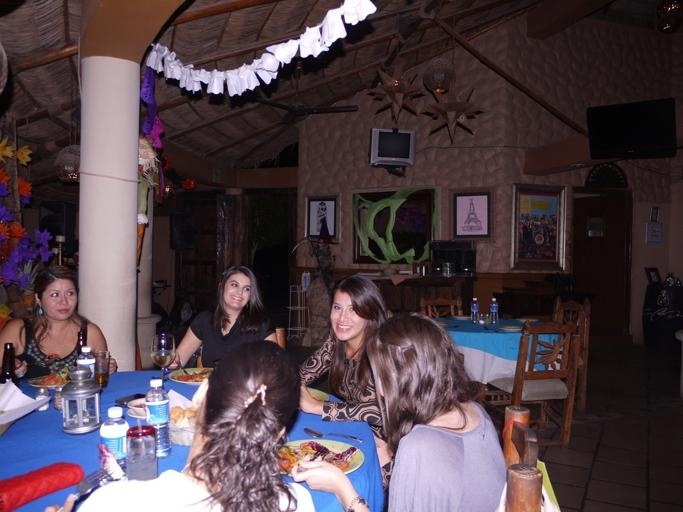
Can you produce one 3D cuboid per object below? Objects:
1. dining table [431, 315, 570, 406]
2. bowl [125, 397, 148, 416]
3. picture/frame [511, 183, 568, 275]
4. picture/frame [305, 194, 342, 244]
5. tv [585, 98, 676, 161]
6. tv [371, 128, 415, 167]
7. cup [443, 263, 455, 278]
[{"bbox_3d":[1.237,0.792,4.083,0.918,0.306,1.209,1,6,4],"label":"dining table"},{"bbox_3d":[-0.981,0.738,2.622,0.100,0.043,0.104,3,-5,0],"label":"bowl"},{"bbox_3d":[3.020,-0.449,8.269,0.957,1.305,0.265,3,9,-16],"label":"picture/frame"},{"bbox_3d":[-0.344,-0.715,9.481,0.783,0.762,0.201,12,11,37],"label":"picture/frame"},{"bbox_3d":[3.797,-1.655,7.111,1.102,0.838,0.776,-2,-5,15],"label":"tv"},{"bbox_3d":[0.788,-1.708,8.527,0.836,0.690,0.495,2,0,-4],"label":"tv"},{"bbox_3d":[1.561,0.185,7.960,0.123,0.216,0.208,0,-4,10],"label":"cup"}]
